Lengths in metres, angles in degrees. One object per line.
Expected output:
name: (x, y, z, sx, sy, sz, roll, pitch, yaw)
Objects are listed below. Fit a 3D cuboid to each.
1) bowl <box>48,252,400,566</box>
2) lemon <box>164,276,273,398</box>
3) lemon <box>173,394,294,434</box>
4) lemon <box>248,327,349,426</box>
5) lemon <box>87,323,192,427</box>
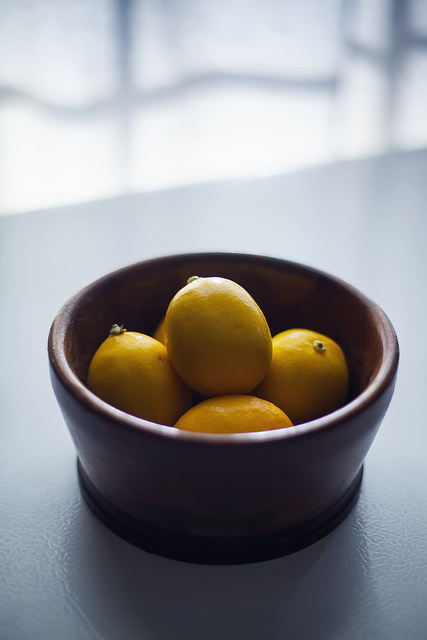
bowl: (0.001, 0.043, 0.412, 0.234, 0.136, 0.224, -1, 29, 1)
lemon: (0.000, 0.011, 0.406, 0.068, 0.088, 0.062, -15, -2, -22)
lemon: (0.013, 0.060, 0.358, 0.066, 0.018, 0.035, 3, 20, -6)
lemon: (0.063, 0.043, 0.467, 0.064, 0.062, 0.063, -6, 53, -31)
lemon: (-0.053, 0.041, 0.414, 0.069, 0.077, 0.062, -6, 11, 5)
